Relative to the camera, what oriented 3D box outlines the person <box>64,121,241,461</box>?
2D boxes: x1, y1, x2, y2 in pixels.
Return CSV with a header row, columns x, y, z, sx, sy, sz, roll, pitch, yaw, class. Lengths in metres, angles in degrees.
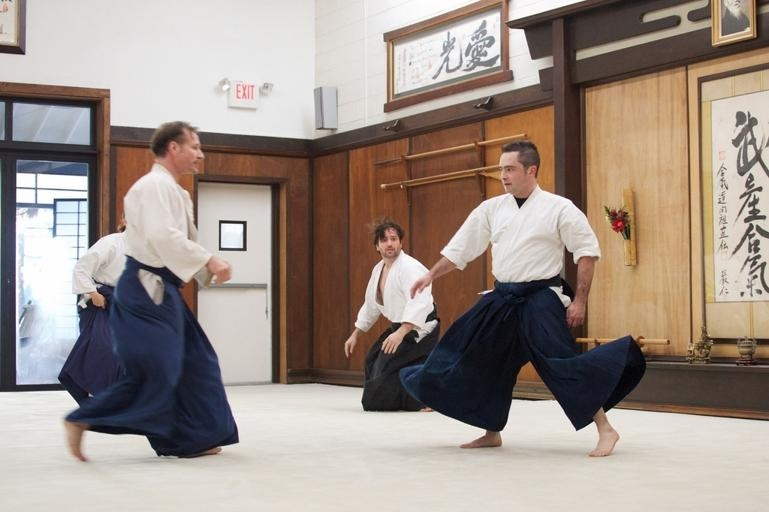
x,y,z,sx,sy,sz,roll,pitch,yaw,class
-1.247,0.326,4.028,0.857,1.577,0.361,1,-2,-7,person
